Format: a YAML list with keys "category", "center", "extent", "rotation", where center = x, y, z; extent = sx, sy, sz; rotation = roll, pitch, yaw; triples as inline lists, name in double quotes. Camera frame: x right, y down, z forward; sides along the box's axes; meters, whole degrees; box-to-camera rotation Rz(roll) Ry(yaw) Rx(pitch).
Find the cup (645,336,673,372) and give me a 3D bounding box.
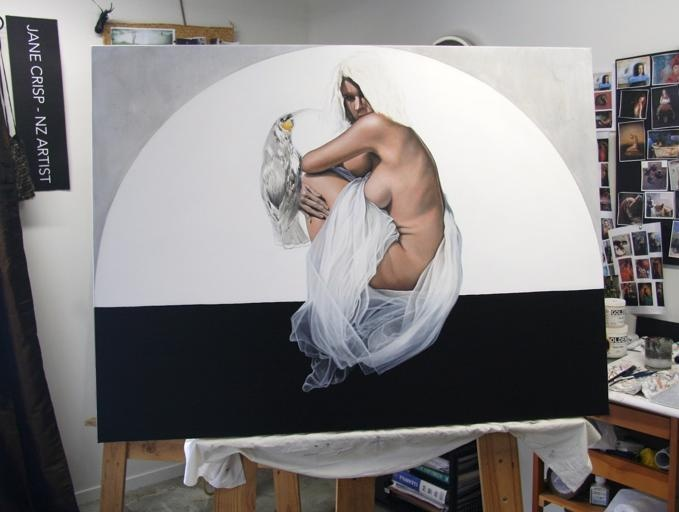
- category: "cup"
  center: [1.288, 0.395, 2.181]
  extent: [0.106, 0.141, 0.113]
  rotation: [0, 1, 0]
